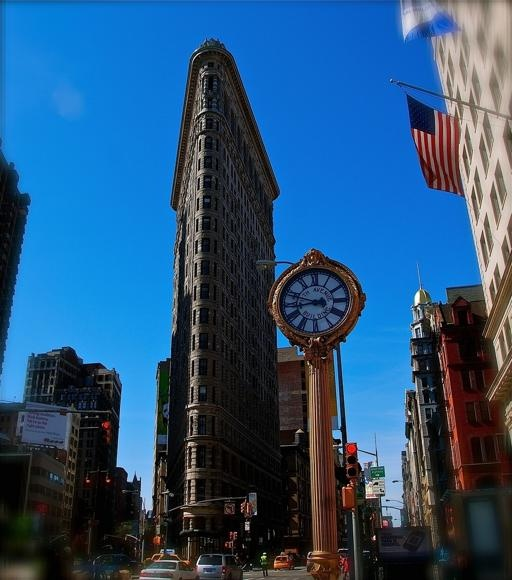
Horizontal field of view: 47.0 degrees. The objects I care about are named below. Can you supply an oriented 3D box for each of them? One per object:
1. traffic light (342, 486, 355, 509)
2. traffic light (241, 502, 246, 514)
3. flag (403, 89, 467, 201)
[{"bbox_3d":[1.997,4.409,12.654,0.240,0.493,0.624,-5,-28,9],"label":"traffic light"},{"bbox_3d":[-1.041,17.809,48.459,0.420,0.814,0.858,2,-27,-4],"label":"traffic light"},{"bbox_3d":[8.239,-7.090,26.860,1.935,3.235,5.477,-12,-30,22],"label":"flag"}]
